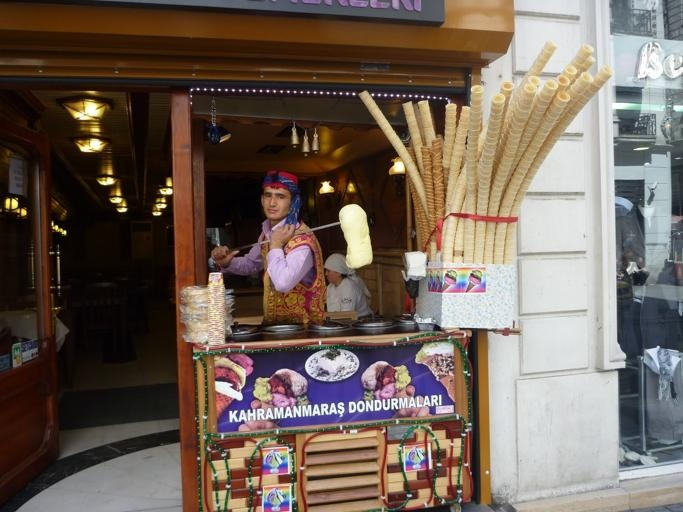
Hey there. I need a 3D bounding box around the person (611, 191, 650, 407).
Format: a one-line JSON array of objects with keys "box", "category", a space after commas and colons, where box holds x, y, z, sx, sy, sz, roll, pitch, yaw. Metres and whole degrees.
[{"box": [2.526, 0.332, 5.851, 0.187, 1.709, 0.460, 2, 9, 44], "category": "person"}]

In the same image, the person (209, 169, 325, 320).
[{"box": [-0.522, -0.060, 5.296, 0.574, 1.209, 0.993, 1, 4, -15], "category": "person"}]

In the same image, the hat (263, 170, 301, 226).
[{"box": [-0.479, -0.472, 5.433, 0.234, 0.419, 0.326, 0, 8, -25], "category": "hat"}]
